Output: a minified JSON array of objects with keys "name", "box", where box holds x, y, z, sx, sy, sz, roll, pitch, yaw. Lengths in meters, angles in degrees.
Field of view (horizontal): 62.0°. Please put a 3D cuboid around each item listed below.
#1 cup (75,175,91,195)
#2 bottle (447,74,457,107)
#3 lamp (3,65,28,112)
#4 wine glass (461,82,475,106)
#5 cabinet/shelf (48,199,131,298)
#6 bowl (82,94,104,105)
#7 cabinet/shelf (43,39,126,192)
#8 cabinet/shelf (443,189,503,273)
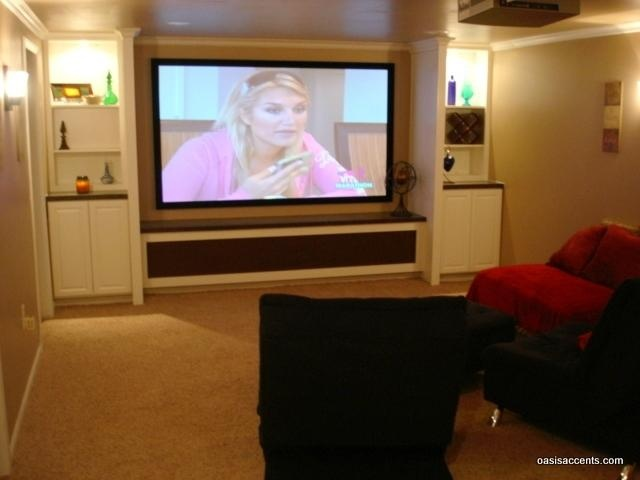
[{"name":"cup","box":[-2.438,-0.565,5.493,0.120,0.174,0.190,-7,16,-28]},{"name":"bottle","box":[1.612,-1.846,6.550,0.119,0.361,0.375,4,14,14]},{"name":"lamp","box":[-2.135,-1.064,3.746,0.155,0.302,0.389,-7,16,-27]},{"name":"wine glass","box":[1.813,-1.806,6.593,0.147,0.263,0.313,4,15,16]},{"name":"cabinet/shelf","box":[-2.339,0.047,5.349,0.887,1.244,0.635,-2,6,-15]},{"name":"bowl","box":[-2.393,-1.476,5.631,0.182,0.084,0.120,-5,15,-21]},{"name":"cabinet/shelf","box":[-2.495,-1.302,5.624,0.745,1.534,0.393,-3,14,-15]},{"name":"cabinet/shelf","box":[1.755,-0.136,6.276,0.853,1.153,0.584,-3,8,-17]}]
